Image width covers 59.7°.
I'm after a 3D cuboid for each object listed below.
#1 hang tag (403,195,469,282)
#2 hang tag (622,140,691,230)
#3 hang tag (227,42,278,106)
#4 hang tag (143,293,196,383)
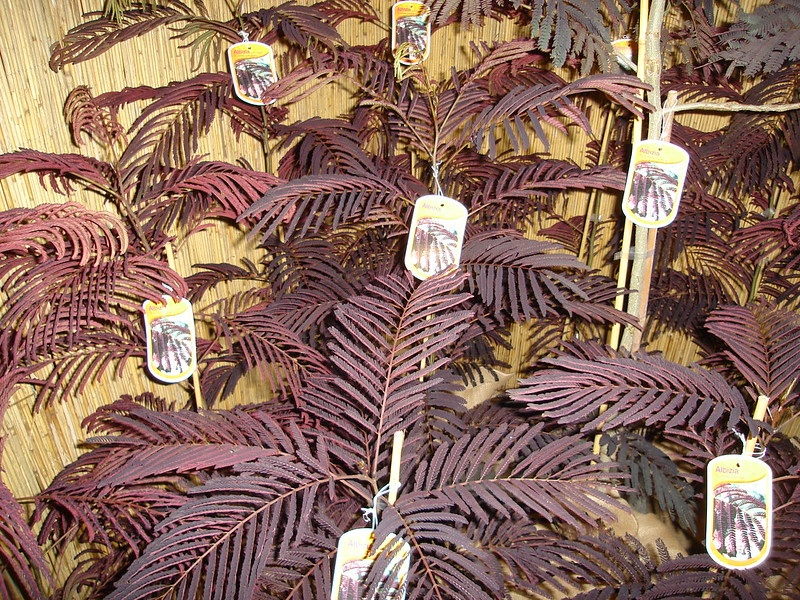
[{"bbox_3d":[0.096,-0.157,1.785,0.166,0.206,0.053,9,16,7],"label":"hang tag"},{"bbox_3d":[0.623,-0.283,1.706,0.166,0.206,0.054,12,27,13],"label":"hang tag"},{"bbox_3d":[-0.455,-0.700,2.169,0.176,0.194,0.219,-7,3,-7],"label":"hang tag"},{"bbox_3d":[-0.607,0.106,1.841,0.134,0.236,0.154,1,2,-16],"label":"hang tag"}]
